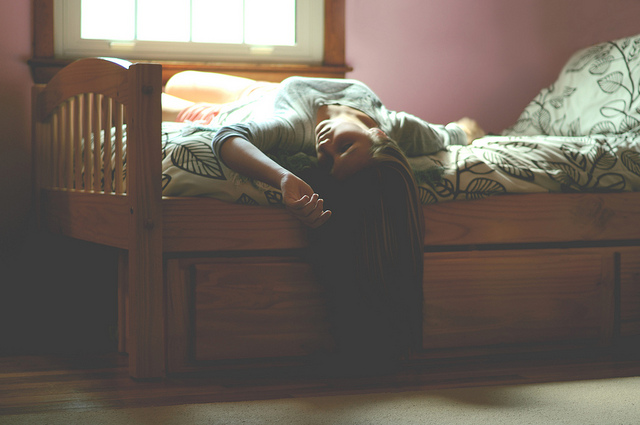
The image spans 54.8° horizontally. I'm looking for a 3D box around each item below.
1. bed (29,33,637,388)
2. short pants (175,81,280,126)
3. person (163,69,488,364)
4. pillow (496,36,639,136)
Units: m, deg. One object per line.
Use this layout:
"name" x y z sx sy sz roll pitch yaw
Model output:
"bed" 0.158 0.031 2.714 2.295 1.061 1.244 0 2 -11
"short pants" -0.416 -0.464 2.650 0.327 0.143 0.458 3 -3 -22
"person" -0.223 -0.260 2.965 1.429 0.925 2.048 -6 12 -19
"pillow" 1.140 -0.653 2.786 0.619 0.177 0.537 -41 26 -29
